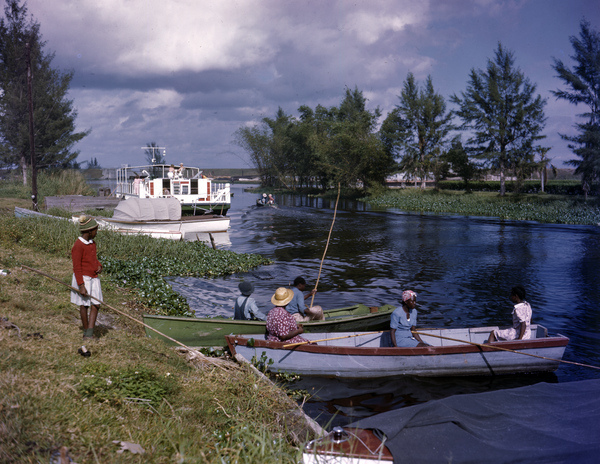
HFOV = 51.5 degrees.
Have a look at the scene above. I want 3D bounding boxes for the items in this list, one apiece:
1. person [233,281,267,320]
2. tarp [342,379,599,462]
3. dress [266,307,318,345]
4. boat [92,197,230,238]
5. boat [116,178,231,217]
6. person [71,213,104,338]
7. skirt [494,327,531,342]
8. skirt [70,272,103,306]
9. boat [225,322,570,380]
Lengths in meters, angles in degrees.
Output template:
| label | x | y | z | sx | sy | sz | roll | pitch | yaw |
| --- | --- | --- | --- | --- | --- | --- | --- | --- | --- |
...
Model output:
| label | x | y | z | sx | sy | sz | roll | pitch | yaw |
| --- | --- | --- | --- | --- | --- | --- | --- | --- | --- |
| person | -1.399 | 1.938 | 17.293 | 0.903 | 1.133 | 0.670 | 11 | 28 | 22 |
| tarp | 3.944 | 3.927 | 12.453 | 3.735 | 0.555 | 2.009 | -4 | -2 | -10 |
| dress | -0.160 | 2.263 | 15.616 | 1.330 | 0.832 | 1.261 | -1 | 4 | -7 |
| boat | -6.775 | -0.716 | 33.736 | 9.150 | 2.073 | 2.605 | 6 | 0 | -38 |
| boat | -7.118 | -2.276 | 40.306 | 4.958 | 2.466 | 7.514 | -1 | 3 | -38 |
| person | -4.817 | 1.032 | 14.065 | 0.651 | 2.738 | 0.902 | 0 | 9 | -20 |
| skirt | 5.296 | 2.521 | 15.566 | 0.652 | 0.245 | 0.386 | 0 | -1 | 25 |
| skirt | -4.768 | 1.332 | 14.318 | 0.807 | 0.900 | 0.663 | -2 | 0 | -38 |
| boat | 2.384 | 2.879 | 15.591 | 8.411 | 1.285 | 1.638 | 2 | 8 | -4 |
